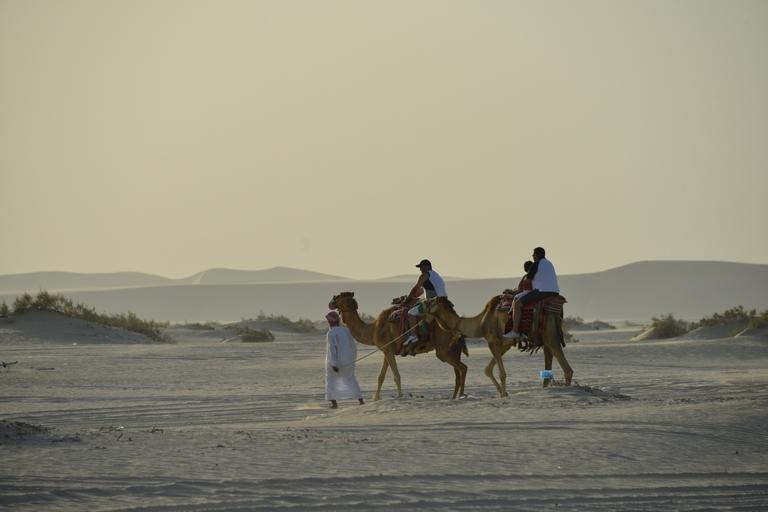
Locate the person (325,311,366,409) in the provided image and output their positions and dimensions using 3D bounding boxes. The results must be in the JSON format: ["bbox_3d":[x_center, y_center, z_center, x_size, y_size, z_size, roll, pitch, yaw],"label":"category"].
[{"bbox_3d":[-0.829,2.079,19.839,0.678,1.937,0.482,0,-9,-7],"label":"person"}]

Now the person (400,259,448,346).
[{"bbox_3d":[0.894,1.002,20.831,1.003,1.791,0.774,-5,-9,18],"label":"person"}]
